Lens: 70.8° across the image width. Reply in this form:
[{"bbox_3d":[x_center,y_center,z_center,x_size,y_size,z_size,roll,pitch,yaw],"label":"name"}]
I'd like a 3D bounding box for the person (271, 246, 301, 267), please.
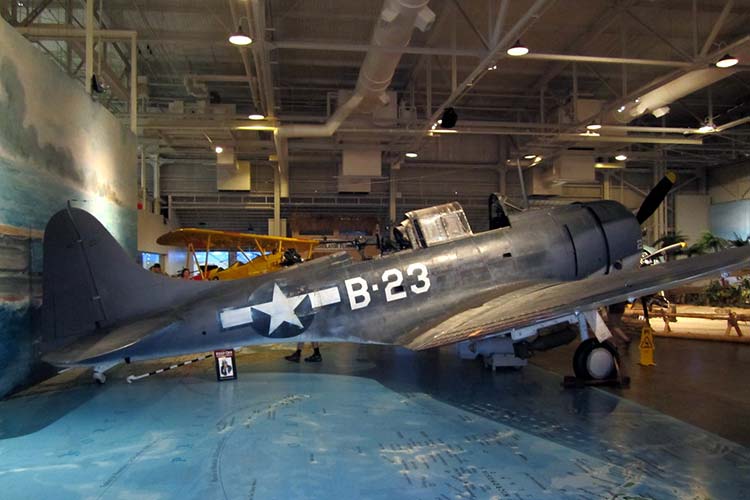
[{"bbox_3d":[-2.102,0.225,13.263,0.887,0.362,0.985,0,-3,-8],"label":"person"}]
